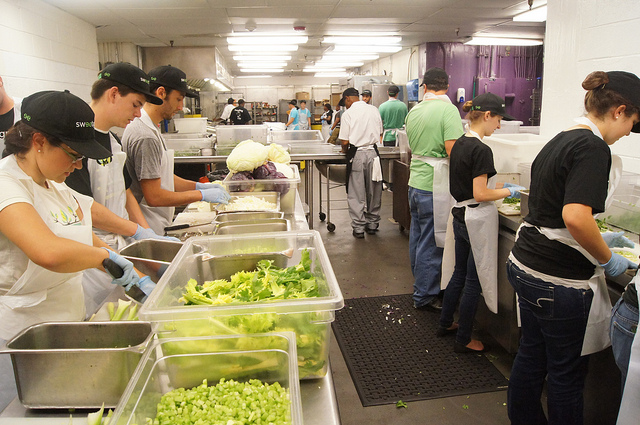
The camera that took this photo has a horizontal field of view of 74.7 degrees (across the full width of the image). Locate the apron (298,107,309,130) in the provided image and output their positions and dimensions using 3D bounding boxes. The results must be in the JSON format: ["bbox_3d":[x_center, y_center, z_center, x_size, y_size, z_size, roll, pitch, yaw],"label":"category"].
[{"bbox_3d":[-0.541,-3.011,13.625,0.293,0.664,0.603,-3,16,-3],"label":"apron"}]

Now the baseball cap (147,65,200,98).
[{"bbox_3d":[-0.954,-0.884,2.855,0.324,0.177,0.208,10,4,7],"label":"baseball cap"}]

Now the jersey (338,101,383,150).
[{"bbox_3d":[0.566,-1.179,5.664,0.699,0.666,0.363,-19,22,-25],"label":"jersey"}]

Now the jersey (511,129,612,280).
[{"bbox_3d":[1.229,-0.047,2.158,0.402,0.735,0.267,9,20,35],"label":"jersey"}]

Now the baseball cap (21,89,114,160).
[{"bbox_3d":[-1.036,-0.398,1.769,0.388,0.194,0.240,22,16,-5],"label":"baseball cap"}]

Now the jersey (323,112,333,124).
[{"bbox_3d":[0.279,-2.860,12.788,0.195,0.351,0.270,6,8,39],"label":"jersey"}]

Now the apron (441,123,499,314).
[{"bbox_3d":[1.187,0.077,3.173,0.407,1.373,0.686,0,16,8],"label":"apron"}]

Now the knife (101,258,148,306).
[{"bbox_3d":[-0.890,0.315,1.923,0.050,0.343,0.079,9,47,41],"label":"knife"}]

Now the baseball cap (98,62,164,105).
[{"bbox_3d":[-1.134,-0.790,2.466,0.378,0.216,0.260,12,1,-19],"label":"baseball cap"}]

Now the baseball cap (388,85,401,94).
[{"bbox_3d":[1.273,-2.083,7.262,0.174,0.105,0.250,2,24,8],"label":"baseball cap"}]

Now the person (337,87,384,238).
[{"bbox_3d":[0.550,-0.561,5.666,0.550,1.787,0.455,-1,16,5],"label":"person"}]

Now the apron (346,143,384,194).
[{"bbox_3d":[0.580,-0.582,5.614,0.630,0.849,0.353,-1,13,-2],"label":"apron"}]

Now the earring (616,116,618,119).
[{"bbox_3d":[1.468,-0.465,2.072,0.010,0.010,0.002,-3,-16,7],"label":"earring"}]

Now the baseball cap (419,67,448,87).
[{"bbox_3d":[1.020,-1.205,3.744,0.220,0.143,0.210,4,17,21],"label":"baseball cap"}]

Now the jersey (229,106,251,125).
[{"bbox_3d":[-1.940,-2.326,10.136,0.451,0.386,0.396,-5,16,-12],"label":"jersey"}]

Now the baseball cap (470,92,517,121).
[{"bbox_3d":[1.287,-0.781,3.098,0.336,0.180,0.215,13,11,-2],"label":"baseball cap"}]

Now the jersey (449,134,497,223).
[{"bbox_3d":[1.085,-0.220,2.982,0.265,0.665,0.557,-8,14,-7],"label":"jersey"}]

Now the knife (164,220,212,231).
[{"bbox_3d":[-0.832,0.086,2.679,0.312,0.039,0.024,-7,53,-34],"label":"knife"}]
